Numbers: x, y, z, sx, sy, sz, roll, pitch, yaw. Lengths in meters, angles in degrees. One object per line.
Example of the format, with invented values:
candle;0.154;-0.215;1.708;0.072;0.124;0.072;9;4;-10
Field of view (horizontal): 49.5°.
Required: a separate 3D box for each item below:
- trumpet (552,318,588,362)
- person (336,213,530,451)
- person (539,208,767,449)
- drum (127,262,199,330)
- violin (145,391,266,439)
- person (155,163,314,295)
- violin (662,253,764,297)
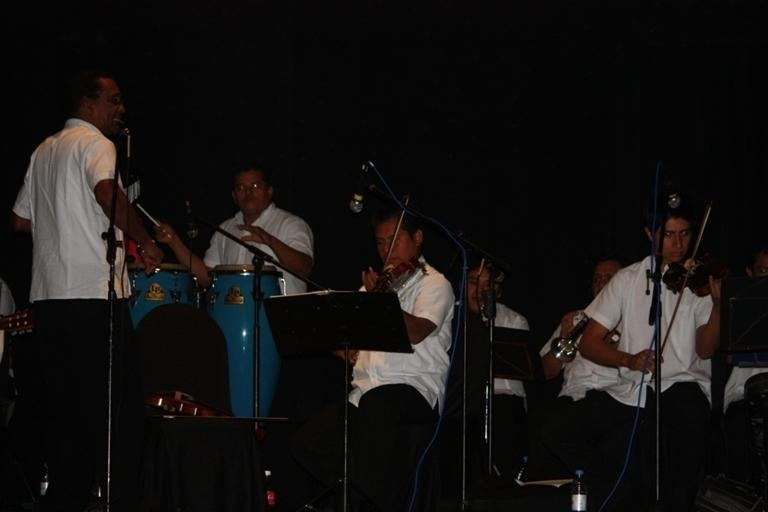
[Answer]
trumpet;1.553;0.740;7.030;0.218;0.418;0.172;40;-23;-3
person;0.152;0.410;6.433;0.798;1.507;0.561;3;-2;-10
person;2.011;0.518;6.638;1.302;1.755;0.829;1;-2;29
drum;-1.902;0.348;7.219;0.529;0.513;0.531;1;-4;-15
violin;-1.284;1.056;5.842;0.746;0.184;0.334;3;-3;-4
person;-1.379;-0.226;7.952;0.910;1.310;0.804;-15;-20;30
violin;2.766;0.120;6.820;1.195;0.436;0.433;5;-4;-40
